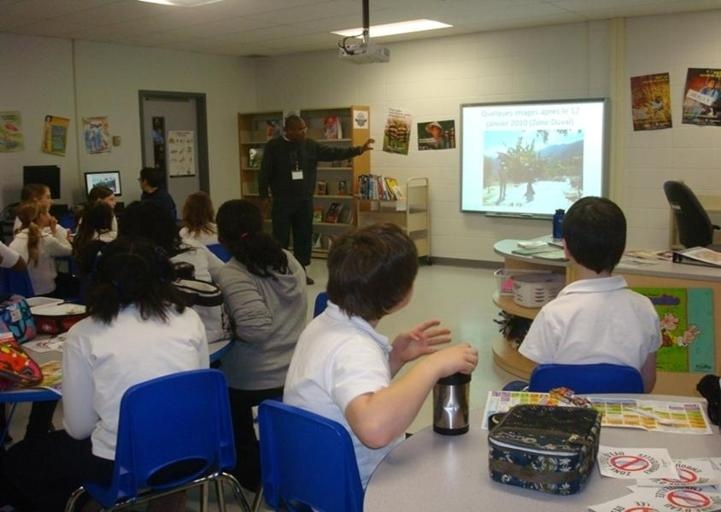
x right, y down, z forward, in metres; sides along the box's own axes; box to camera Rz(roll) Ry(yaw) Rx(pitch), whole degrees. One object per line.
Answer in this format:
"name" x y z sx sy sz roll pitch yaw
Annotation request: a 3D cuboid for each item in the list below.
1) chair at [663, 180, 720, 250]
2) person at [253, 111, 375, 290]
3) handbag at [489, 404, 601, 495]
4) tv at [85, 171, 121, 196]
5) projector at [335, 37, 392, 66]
"chair" 3.317 -0.382 5.523 0.322 0.702 0.557 -3 13 -7
"person" -0.617 -0.787 7.413 1.421 2.173 0.586 -2 29 -10
"handbag" 0.520 0.528 1.542 0.246 0.122 0.316 7 15 32
"tv" -3.303 -0.926 7.016 0.129 0.371 0.499 2 6 39
"projector" 0.017 -2.055 5.456 0.481 0.260 0.417 1 13 8
